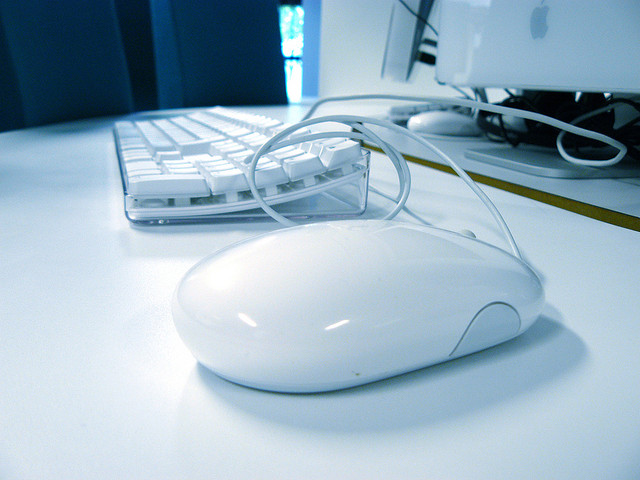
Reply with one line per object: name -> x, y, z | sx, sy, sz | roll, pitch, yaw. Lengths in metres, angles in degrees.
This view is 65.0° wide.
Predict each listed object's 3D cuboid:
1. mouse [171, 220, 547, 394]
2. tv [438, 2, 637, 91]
mouse -> 0.031, 0.006, 0.352 | 0.189, 0.066, 0.133 | -10, 21, -14
tv -> 0.278, -0.264, 0.701 | 0.037, 0.130, 0.357 | -8, 28, -24
